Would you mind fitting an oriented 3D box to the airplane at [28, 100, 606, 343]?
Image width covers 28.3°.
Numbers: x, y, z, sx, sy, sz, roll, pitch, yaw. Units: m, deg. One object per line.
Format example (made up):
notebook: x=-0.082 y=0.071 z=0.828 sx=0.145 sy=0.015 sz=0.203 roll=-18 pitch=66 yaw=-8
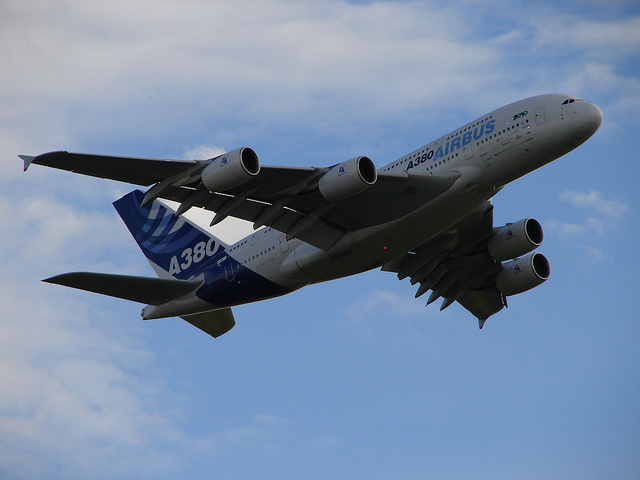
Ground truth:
airplane: x=0.159 y=-0.566 z=42.030 sx=16.217 sy=6.509 sz=9.198 roll=3 pitch=-16 yaw=1
